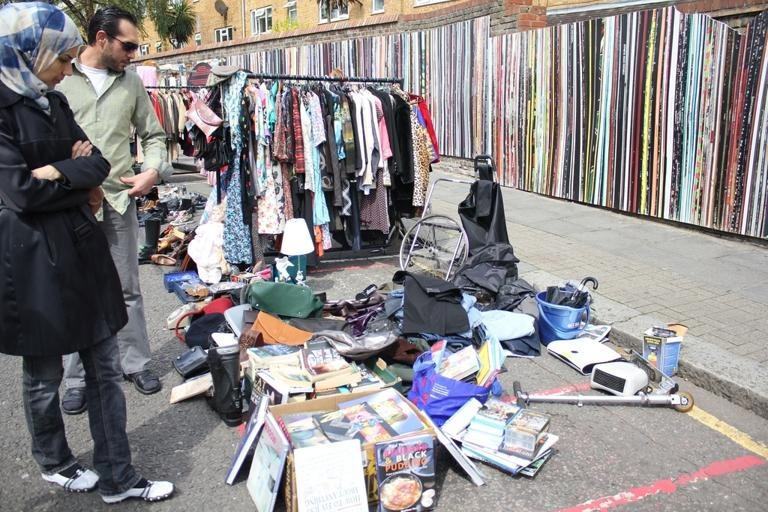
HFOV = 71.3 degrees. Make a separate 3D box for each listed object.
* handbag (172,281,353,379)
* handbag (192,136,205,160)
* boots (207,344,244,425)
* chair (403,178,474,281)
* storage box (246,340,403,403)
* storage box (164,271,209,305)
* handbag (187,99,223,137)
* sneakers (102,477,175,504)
[{"bbox_3d":[-1.391,0.618,5.372,1.741,0.768,1.127,9,19,4],"label":"handbag"},{"bbox_3d":[-2.173,-1.272,6.324,0.142,0.236,0.130,-9,20,-22],"label":"handbag"},{"bbox_3d":[-1.230,0.989,4.253,0.327,0.581,0.475,-9,8,-32],"label":"boots"},{"bbox_3d":[0.560,-0.286,6.510,0.560,1.138,1.186,-10,20,-25],"label":"chair"},{"bbox_3d":[-0.610,0.897,4.161,0.622,0.201,0.614,0,10,-20],"label":"storage box"},{"bbox_3d":[-2.391,0.347,6.389,0.348,0.135,0.590,-11,22,-31],"label":"storage box"},{"bbox_3d":[-2.094,-1.615,6.303,0.458,0.441,0.277,13,23,37],"label":"handbag"},{"bbox_3d":[-1.574,1.522,3.488,0.431,0.137,0.176,-3,11,-18],"label":"sneakers"}]
